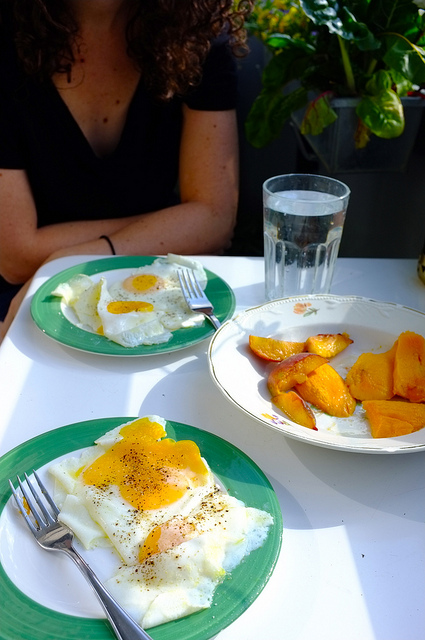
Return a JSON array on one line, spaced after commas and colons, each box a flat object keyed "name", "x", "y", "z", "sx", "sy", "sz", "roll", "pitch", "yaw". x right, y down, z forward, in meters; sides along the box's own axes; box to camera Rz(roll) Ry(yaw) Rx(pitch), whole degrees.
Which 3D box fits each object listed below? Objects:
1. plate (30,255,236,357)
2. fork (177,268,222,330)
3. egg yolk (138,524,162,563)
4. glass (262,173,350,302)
[{"name": "plate", "x": -0.141, "y": -0.010, "z": 0.860, "sx": 0.234, "sy": 0.029, "sz": 0.224, "roll": 4, "pitch": 33, "yaw": -2}, {"name": "fork", "x": -0.024, "y": -0.033, "z": 0.924, "sx": 0.033, "sy": 0.025, "sz": 0.214, "roll": -9, "pitch": 45, "yaw": -20}, {"name": "egg yolk", "x": -0.058, "y": 0.211, "z": 0.499, "sx": 0.016, "sy": 0.006, "sz": 0.025, "roll": -13, "pitch": 31, "yaw": 44}, {"name": "glass", "x": 0.165, "y": -0.158, "z": 0.991, "sx": 0.133, "sy": 0.270, "sz": 0.135, "roll": -8, "pitch": 23, "yaw": -12}]
